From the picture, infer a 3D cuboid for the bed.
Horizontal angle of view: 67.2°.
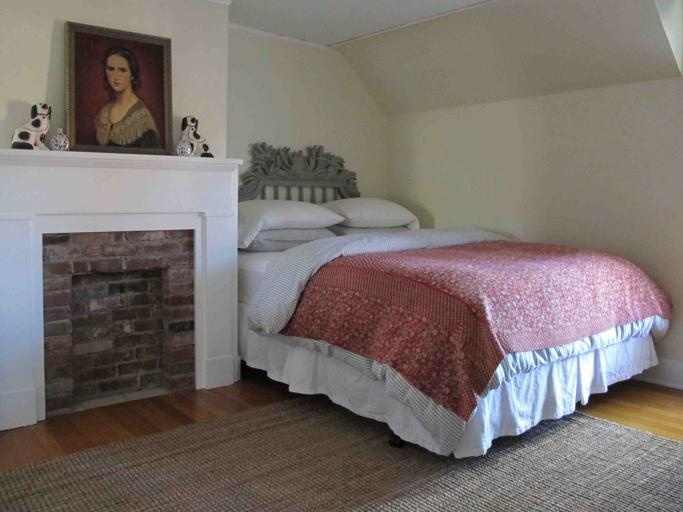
[{"bbox_3d":[0.391,0.245,2.681,1.413,0.924,1.460,6,11,44],"label":"bed"}]
